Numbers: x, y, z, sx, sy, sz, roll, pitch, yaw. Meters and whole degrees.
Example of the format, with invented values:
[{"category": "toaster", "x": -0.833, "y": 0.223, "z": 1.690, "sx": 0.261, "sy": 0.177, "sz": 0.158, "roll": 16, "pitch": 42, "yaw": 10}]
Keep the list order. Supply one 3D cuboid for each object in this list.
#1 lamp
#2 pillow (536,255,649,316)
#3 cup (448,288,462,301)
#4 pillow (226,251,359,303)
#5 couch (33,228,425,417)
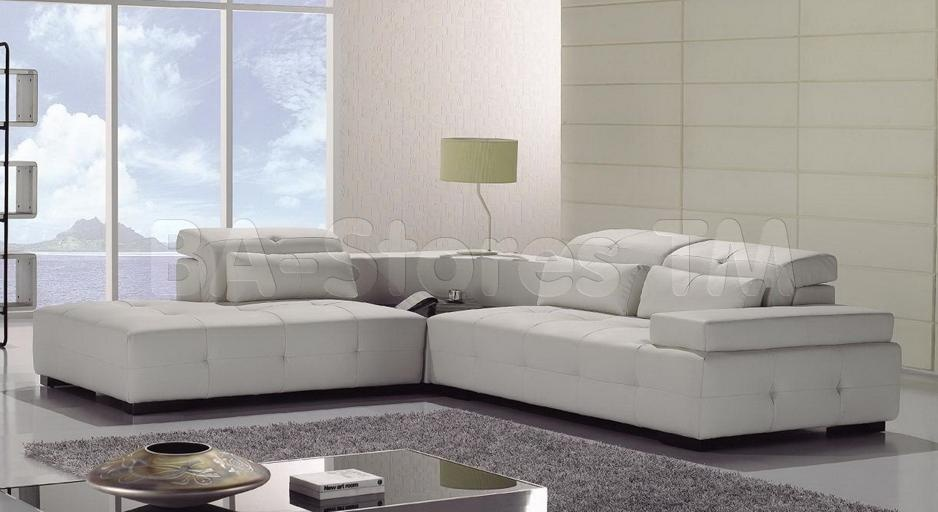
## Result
[{"category": "lamp", "x": 0.088, "y": -0.578, "z": 6.754, "sx": 0.873, "sy": 1.064, "sz": 0.796, "roll": 2, "pitch": 2, "yaw": 9}, {"category": "pillow", "x": 0.984, "y": 0.266, "z": 5.590, "sx": 0.344, "sy": 0.418, "sz": 1.026, "roll": -7, "pitch": 7, "yaw": -38}, {"category": "cup", "x": -0.124, "y": 0.363, "z": 5.981, "sx": 0.097, "sy": 0.143, "sz": 0.175, "roll": -1, "pitch": 4, "yaw": -33}, {"category": "pillow", "x": -1.548, "y": 0.172, "z": 5.775, "sx": 1.115, "sy": 0.413, "sz": 0.305, "roll": 0, "pitch": -6, "yaw": -36}, {"category": "couch", "x": -1.828, "y": 0.415, "z": 5.264, "sx": 2.625, "sy": 1.245, "sz": 1.307, "roll": 1, "pitch": 2, "yaw": -27}]
